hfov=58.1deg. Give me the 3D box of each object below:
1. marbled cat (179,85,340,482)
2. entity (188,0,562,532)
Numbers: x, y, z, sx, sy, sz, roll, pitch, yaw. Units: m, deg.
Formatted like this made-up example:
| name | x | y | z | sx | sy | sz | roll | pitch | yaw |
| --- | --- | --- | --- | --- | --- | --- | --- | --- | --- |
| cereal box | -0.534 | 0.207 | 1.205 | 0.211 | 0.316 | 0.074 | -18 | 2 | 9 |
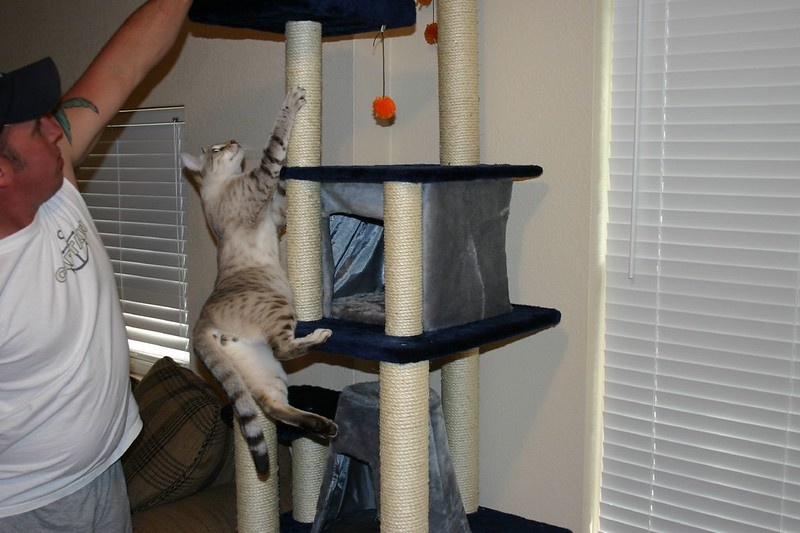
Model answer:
| name | x | y | z | sx | sy | sz | roll | pitch | yaw |
| --- | --- | --- | --- | --- | --- | --- | --- | --- | --- |
| marbled cat | -0.389 | 0.068 | 2.211 | 0.396 | 1.249 | 0.452 | -9 | -10 | 37 |
| entity | 0.019 | 0.051 | 2.193 | 1.015 | 1.712 | 0.560 | 0 | 13 | -13 |
